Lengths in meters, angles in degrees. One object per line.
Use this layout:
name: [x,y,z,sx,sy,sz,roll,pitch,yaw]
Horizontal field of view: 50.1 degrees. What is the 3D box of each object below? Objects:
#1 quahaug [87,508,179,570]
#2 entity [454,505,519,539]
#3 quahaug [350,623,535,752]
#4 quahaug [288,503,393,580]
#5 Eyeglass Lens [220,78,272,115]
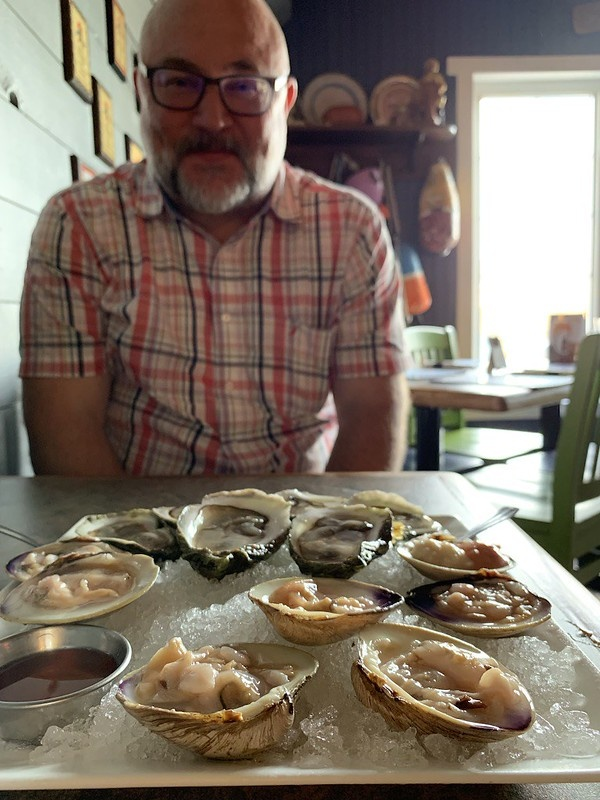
quahaug: [-0.173,0.141,0.676,0.056,0.017,0.057,14,10,-2]
entity: [0.209,0.138,0.733,0.015,0.010,0.079,24,30,36]
quahaug: [0.085,0.179,0.393,0.109,0.039,0.108,10,4,-10]
quahaug: [0.041,0.141,0.658,0.062,0.025,0.057,-9,21,-6]
Eyeglass Lens: [-0.102,-0.568,1.207,0.067,0.041,0.088,-2,26,-7]
